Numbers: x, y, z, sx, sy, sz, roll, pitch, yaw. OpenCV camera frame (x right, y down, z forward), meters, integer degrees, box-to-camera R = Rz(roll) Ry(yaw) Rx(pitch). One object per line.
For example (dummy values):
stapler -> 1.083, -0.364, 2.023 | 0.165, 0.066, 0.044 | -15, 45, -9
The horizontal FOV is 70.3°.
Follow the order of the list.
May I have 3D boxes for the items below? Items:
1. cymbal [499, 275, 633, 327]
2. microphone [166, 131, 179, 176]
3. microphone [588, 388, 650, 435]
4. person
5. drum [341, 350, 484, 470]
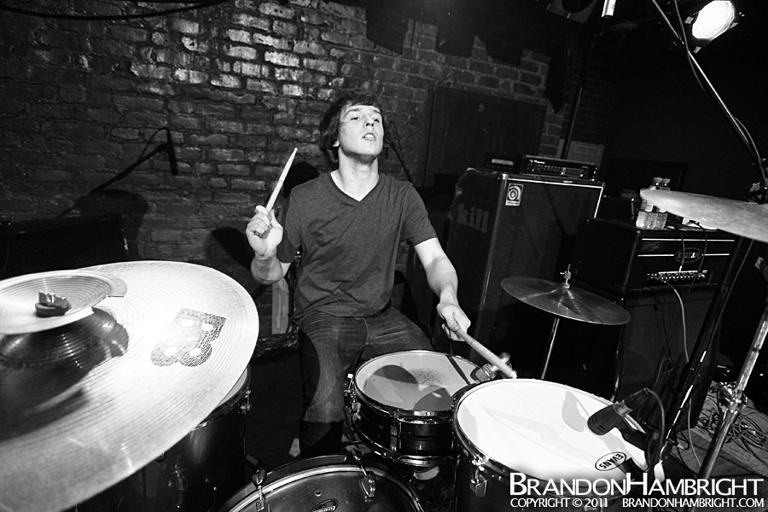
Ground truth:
cymbal -> 0.967, 0.249, 2.979 | 0.676, 0.239, 0.366 | 12, 15, 33
microphone -> -1.346, -0.653, 3.468 | 0.067, 0.281, 0.023 | -2, 15, -23
microphone -> 0.903, 0.616, 2.127 | 0.197, 0.253, 0.106 | 9, 15, 21
person -> -0.124, 0.234, 2.932 | 1.252, 2.100, 1.126 | 0, 3, -6
drum -> 0.087, 0.648, 2.441 | 0.498, 0.187, 0.467 | 3, 14, -1
